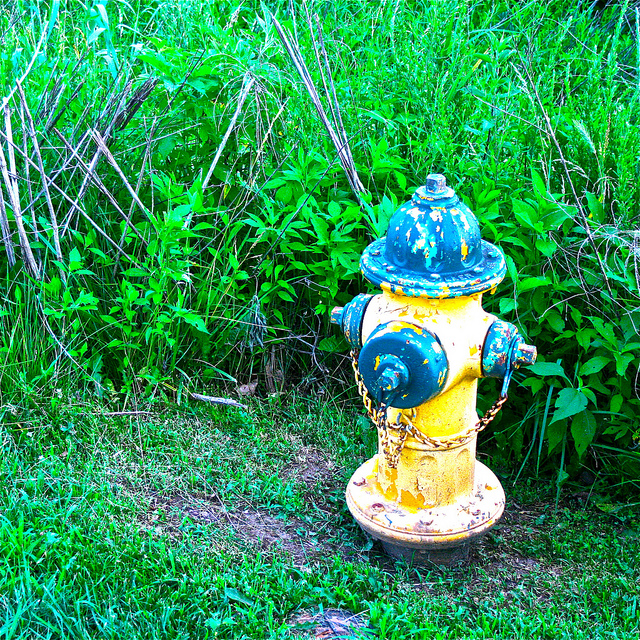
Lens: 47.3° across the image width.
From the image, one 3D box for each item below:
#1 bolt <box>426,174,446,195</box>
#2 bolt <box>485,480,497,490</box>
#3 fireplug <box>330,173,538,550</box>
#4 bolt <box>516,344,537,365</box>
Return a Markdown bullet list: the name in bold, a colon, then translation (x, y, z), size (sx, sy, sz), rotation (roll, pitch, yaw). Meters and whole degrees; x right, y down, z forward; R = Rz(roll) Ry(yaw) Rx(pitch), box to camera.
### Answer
- **bolt**: translation (0.352, -0.409, 2.240), size (0.056, 0.046, 0.059), rotation (-7, 36, -16)
- **bolt**: translation (0.638, 0.618, 2.707), size (0.023, 0.018, 0.030), rotation (0, 19, -2)
- **fireplug**: translation (0.345, 0.188, 2.507), size (0.694, 1.324, 0.665), rotation (11, 25, 27)
- **bolt**: translation (0.667, 0.112, 2.359), size (0.061, 0.066, 0.046), rotation (2, 23, 15)
